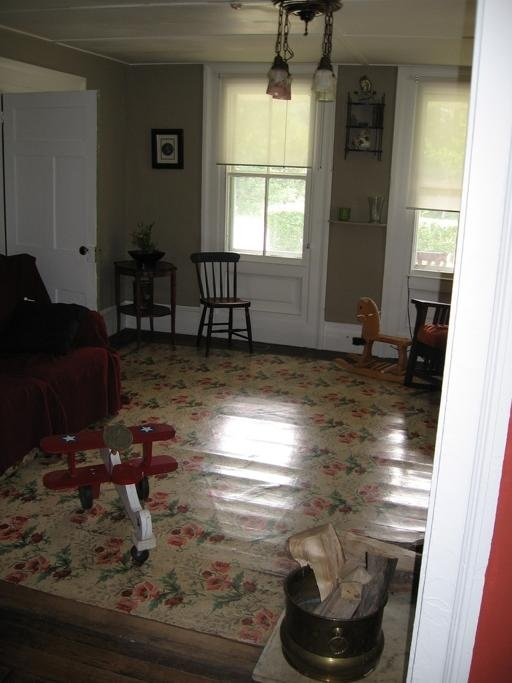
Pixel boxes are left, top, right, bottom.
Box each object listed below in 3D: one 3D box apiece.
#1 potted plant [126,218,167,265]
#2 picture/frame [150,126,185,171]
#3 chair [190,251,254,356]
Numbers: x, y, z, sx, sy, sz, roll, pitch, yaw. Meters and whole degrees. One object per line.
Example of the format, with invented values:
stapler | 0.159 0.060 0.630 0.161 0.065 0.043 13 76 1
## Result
potted plant | -1.128 -0.997 5.482 0.317 0.382 0.716 -1 15 -11
picture/frame | -0.919 -2.032 5.581 0.445 0.516 0.050 2 14 9
chair | -0.347 -0.425 5.511 0.637 0.970 0.902 0 15 -6
